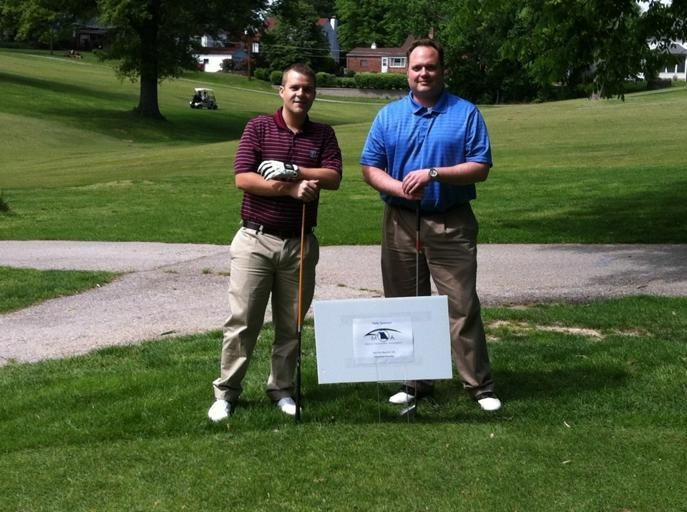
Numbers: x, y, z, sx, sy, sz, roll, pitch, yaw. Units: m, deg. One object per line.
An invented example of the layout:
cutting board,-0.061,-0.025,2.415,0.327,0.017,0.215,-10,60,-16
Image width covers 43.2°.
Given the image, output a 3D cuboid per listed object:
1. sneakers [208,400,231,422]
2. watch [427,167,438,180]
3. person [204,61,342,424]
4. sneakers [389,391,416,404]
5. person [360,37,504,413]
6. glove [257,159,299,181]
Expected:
sneakers,-1.099,1.356,7.689,0.195,0.130,0.181,-2,13,-5
watch,0.787,-0.719,7.595,0.072,0.107,0.099,-27,16,-2
person,-0.623,-0.163,7.804,1.348,3.020,0.814,-7,15,-21
sneakers,0.534,1.291,8.002,0.187,0.067,0.102,0,1,-16
person,0.823,-0.309,7.957,1.297,3.244,0.859,3,15,18
glove,-0.570,-0.725,7.529,0.294,0.083,0.174,7,51,-32
